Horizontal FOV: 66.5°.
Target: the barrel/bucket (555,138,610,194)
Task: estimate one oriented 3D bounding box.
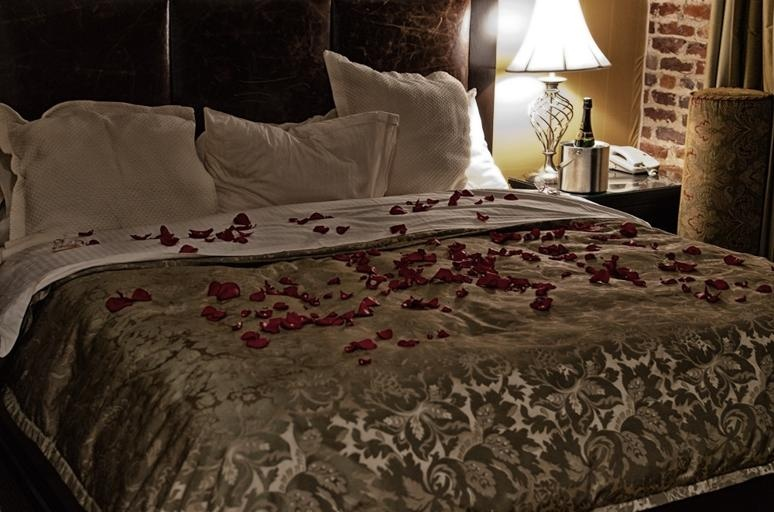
[{"bbox_3d":[1.076,-0.497,3.240,0.373,0.265,0.293,-1,16,-1],"label":"barrel/bucket"}]

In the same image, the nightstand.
[{"bbox_3d":[1.323,-0.358,3.455,0.795,0.399,0.376,-6,21,-19],"label":"nightstand"}]
